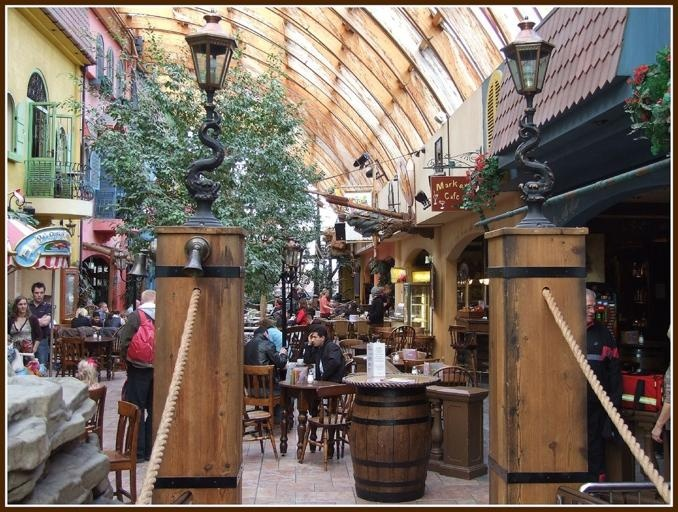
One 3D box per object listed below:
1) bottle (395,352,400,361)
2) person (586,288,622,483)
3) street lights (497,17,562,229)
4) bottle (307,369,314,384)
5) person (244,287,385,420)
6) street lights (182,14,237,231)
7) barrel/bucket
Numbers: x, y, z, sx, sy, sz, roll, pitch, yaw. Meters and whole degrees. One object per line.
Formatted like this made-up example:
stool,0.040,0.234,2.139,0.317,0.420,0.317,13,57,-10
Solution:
bottle,1.099,1.918,11.962,0.103,0.204,0.107,2,-4,0
person,2.928,1.443,6.946,0.350,2.112,0.557,-1,-5,24
street lights,1.733,-1.265,5.728,0.458,2.113,0.691,0,-5,13
bottle,-0.420,1.817,9.314,0.099,0.197,0.102,0,2,0
person,-0.642,1.662,10.012,1.511,1.568,1.093,1,-9,4
street lights,-1.137,-1.241,5.520,0.428,2.056,0.606,2,-5,-14
barrel/bucket,0.814,2.233,7.789,1.135,1.596,1.130,0,-4,0
